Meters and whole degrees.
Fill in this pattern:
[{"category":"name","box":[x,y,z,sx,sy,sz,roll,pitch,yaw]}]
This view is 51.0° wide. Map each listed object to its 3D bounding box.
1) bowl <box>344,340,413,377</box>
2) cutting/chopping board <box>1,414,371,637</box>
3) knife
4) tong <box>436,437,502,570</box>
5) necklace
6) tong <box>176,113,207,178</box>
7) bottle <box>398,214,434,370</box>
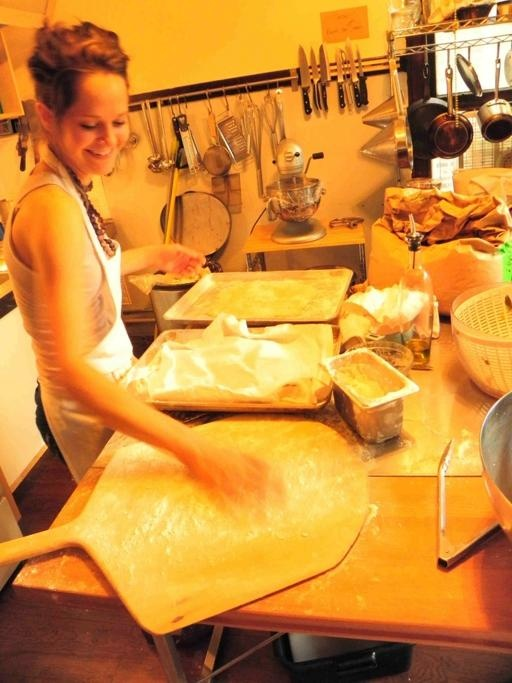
[{"category":"bowl","box":[0.259,0.033,1.114,0.088,0.046,0.105,-26,46,-32]},{"category":"cutting/chopping board","box":[-0.043,0.299,0.820,0.568,0.027,0.321,-10,32,-17]},{"category":"knife","box":[0.379,-1.336,2.744,0.367,0.335,0.132,-5,23,12]},{"category":"tong","box":[0.309,0.223,0.809,0.088,0.010,0.216,-22,29,22]},{"category":"necklace","box":[-0.365,-0.322,1.282,0.050,0.232,0.068,-35,46,-11]},{"category":"tong","box":[-0.378,-1.104,3.007,0.100,0.300,0.044,-16,36,-1]},{"category":"bottle","box":[0.362,-0.123,1.199,0.062,0.327,0.241,-1,24,23]}]
